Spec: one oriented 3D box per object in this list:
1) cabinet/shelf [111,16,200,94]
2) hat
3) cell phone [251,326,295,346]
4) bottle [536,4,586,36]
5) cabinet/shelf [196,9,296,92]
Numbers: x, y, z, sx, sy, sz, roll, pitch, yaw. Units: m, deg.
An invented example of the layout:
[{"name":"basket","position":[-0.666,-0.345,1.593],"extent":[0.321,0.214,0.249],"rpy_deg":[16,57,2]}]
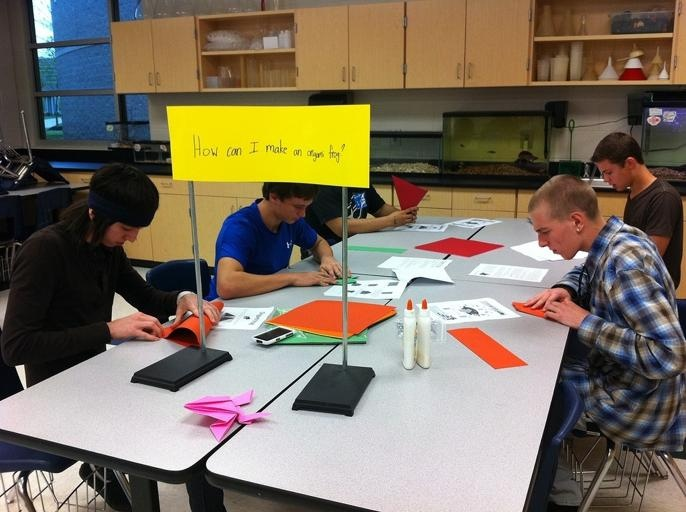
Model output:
[{"name":"cabinet/shelf","position":[-2.169,-2.169,5.618],"extent":[0.613,0.729,1.079],"rpy_deg":[23,33,27]},{"name":"hat","position":[-0.792,-0.215,1.906],"extent":[0.235,0.190,0.230],"rpy_deg":[25,28,28]},{"name":"cell phone","position":[-0.248,0.290,1.920],"extent":[0.096,0.025,0.177],"rpy_deg":[5,14,26]},{"name":"bottle","position":[1.865,-2.009,4.495],"extent":[0.300,0.188,0.130],"rpy_deg":[-6,22,-3]},{"name":"cabinet/shelf","position":[-0.833,-2.020,5.220],"extent":[1.056,0.733,0.553],"rpy_deg":[6,24,17]}]
